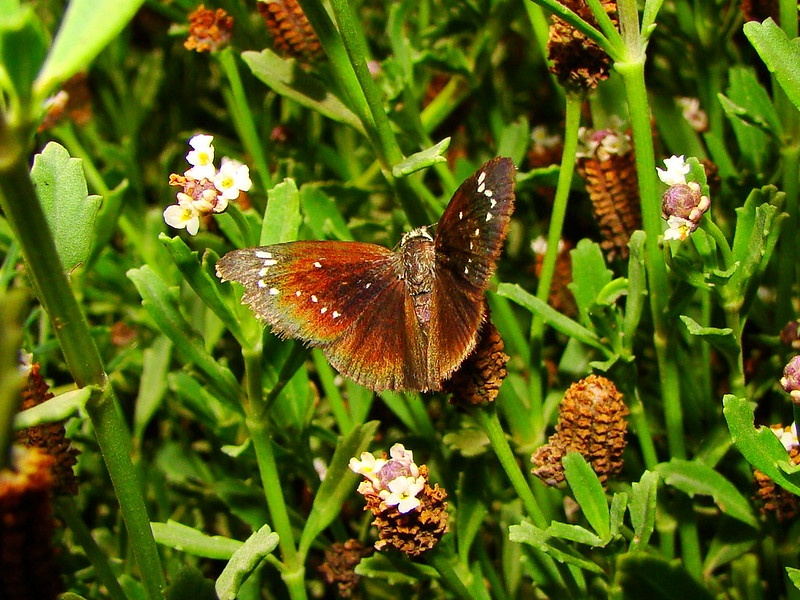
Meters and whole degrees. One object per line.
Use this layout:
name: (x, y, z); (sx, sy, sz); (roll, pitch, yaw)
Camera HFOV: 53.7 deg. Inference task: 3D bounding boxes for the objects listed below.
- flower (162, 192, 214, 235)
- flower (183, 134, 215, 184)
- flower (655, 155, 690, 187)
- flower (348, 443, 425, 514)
flower: (-0.258, -0.103, 0.970); (0.048, 0.050, 0.022); (-33, 2, -7)
flower: (-0.246, -0.175, 0.983); (0.047, 0.057, 0.014); (-14, 12, -5)
flower: (0.331, -0.150, 0.950); (0.032, 0.030, 0.035); (-14, 29, -18)
flower: (-0.015, 0.210, 0.947); (0.107, 0.061, 0.060); (20, 35, 36)
